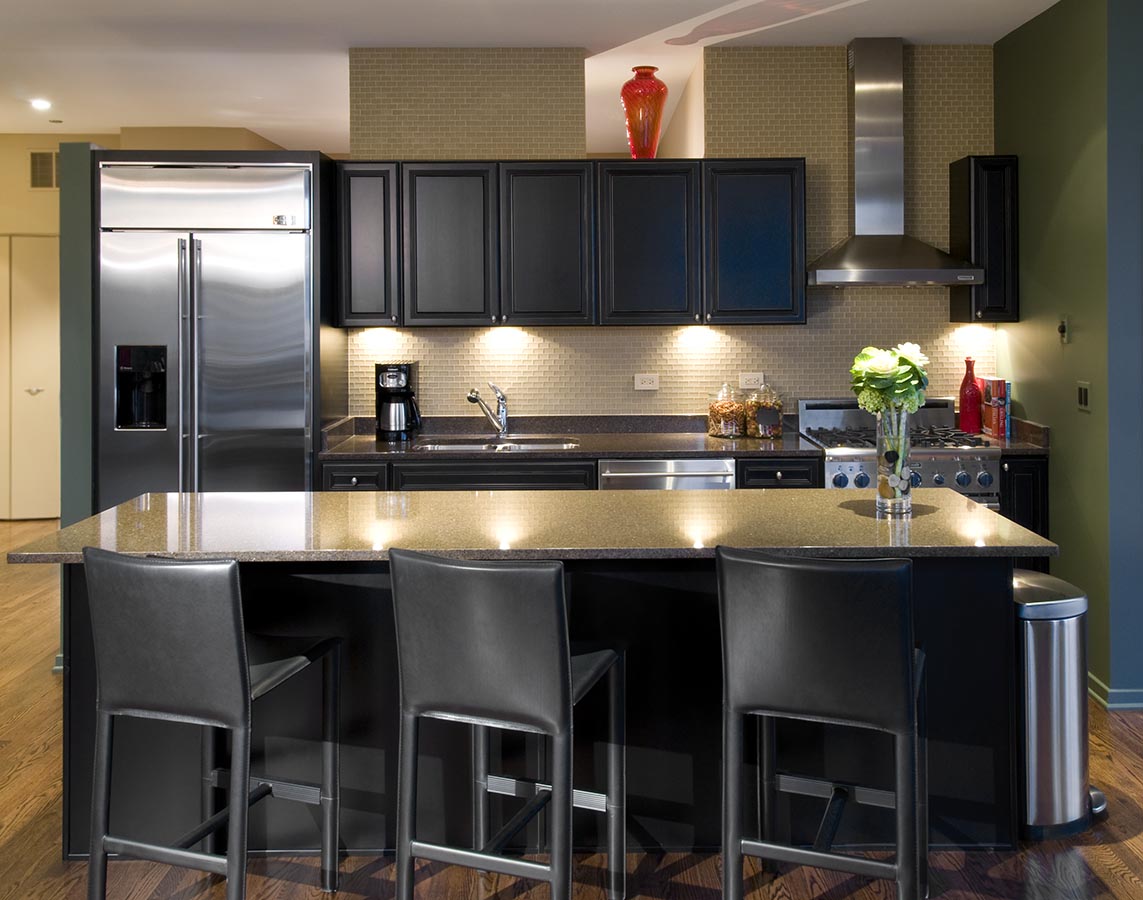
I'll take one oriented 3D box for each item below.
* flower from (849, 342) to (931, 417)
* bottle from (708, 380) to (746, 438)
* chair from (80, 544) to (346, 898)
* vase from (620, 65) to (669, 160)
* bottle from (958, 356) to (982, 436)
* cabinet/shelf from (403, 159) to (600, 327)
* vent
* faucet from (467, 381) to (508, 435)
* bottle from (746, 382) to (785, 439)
[{"bbox_3d":[1.102,-0.243,3.615,0.243,0.241,0.245,-1,3,0],"label":"flower"},{"bbox_3d":[0.818,-0.209,5.610,0.232,0.264,0.233,1,-1,-14],"label":"bottle"},{"bbox_3d":[-1.041,0.827,3.094,0.543,1.156,0.651,3,9,21],"label":"chair"},{"bbox_3d":[0.387,-1.798,5.528,0.218,0.555,0.508,0,9,3],"label":"vase"},{"bbox_3d":[2.151,-0.290,5.539,0.117,0.391,0.239,2,9,17],"label":"bottle"},{"bbox_3d":[-0.351,-1.094,5.324,0.818,0.687,0.317,0,5,2],"label":"cabinet/shelf"},{"bbox_3d":[1.646,-1.464,5.530,0.978,1.113,0.922,-8,15,-6],"label":"vent"},{"bbox_3d":[-0.452,-0.202,5.564,0.213,0.278,0.441,-1,9,-4],"label":"faucet"},{"bbox_3d":[1.049,-0.212,5.576,0.212,0.257,0.423,1,9,12],"label":"bottle"}]
